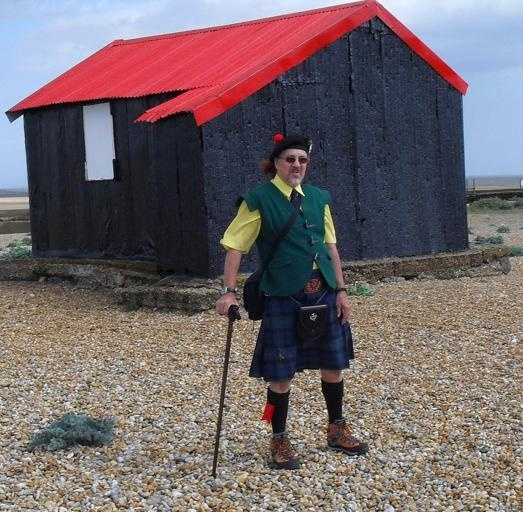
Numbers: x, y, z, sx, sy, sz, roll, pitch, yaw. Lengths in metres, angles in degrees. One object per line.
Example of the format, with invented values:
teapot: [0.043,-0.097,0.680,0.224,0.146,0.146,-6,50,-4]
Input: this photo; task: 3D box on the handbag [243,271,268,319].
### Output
handbag: [-0.049,0.228,3.463,0.108,0.311,0.180,-1,10,-10]

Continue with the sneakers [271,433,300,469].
sneakers: [0.127,1.167,3.583,0.127,0.104,0.278,-2,3,-19]

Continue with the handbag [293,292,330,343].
handbag: [0.290,0.360,3.420,0.235,0.316,0.120,-8,13,-41]

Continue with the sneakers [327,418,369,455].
sneakers: [0.452,1.138,3.738,0.370,0.168,0.127,1,4,37]

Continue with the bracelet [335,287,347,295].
bracelet: [0.478,0.208,3.566,0.059,0.030,0.053,1,-19,7]

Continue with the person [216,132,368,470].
person: [0.176,0.269,3.545,0.947,1.979,0.483,-1,11,-11]

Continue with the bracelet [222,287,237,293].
bracelet: [-0.183,0.196,3.331,0.062,0.030,0.065,19,-26,-40]
